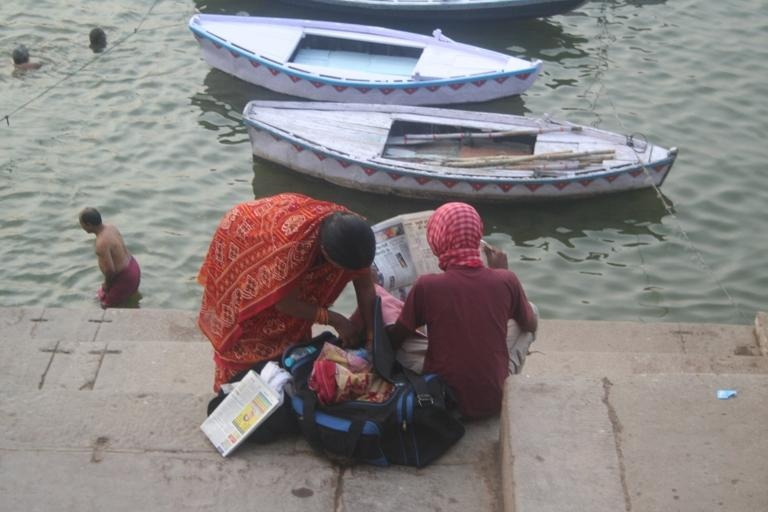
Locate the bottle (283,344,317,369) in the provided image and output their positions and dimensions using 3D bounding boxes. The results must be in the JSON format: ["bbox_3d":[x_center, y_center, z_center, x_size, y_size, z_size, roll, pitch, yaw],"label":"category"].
[{"bbox_3d":[-0.949,1.138,11.447,0.403,0.102,0.165,-11,62,-25],"label":"bottle"}]

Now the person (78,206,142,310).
[{"bbox_3d":[-3.802,0.049,14.608,0.653,1.492,0.631,-11,43,-11],"label":"person"}]

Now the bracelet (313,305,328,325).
[{"bbox_3d":[-0.676,0.687,11.643,0.216,0.223,0.208,4,22,3],"label":"bracelet"}]

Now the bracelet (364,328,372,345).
[{"bbox_3d":[-0.184,0.927,11.634,0.084,0.172,0.089,2,10,6],"label":"bracelet"}]
